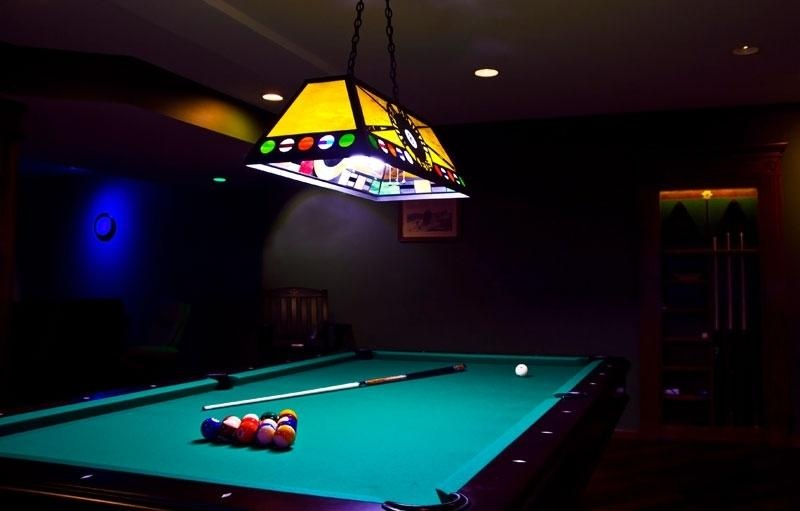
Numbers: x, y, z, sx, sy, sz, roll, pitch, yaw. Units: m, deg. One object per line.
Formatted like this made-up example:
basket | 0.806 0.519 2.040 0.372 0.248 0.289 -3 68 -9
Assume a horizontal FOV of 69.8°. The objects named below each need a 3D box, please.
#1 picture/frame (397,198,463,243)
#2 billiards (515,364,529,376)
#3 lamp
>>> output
picture/frame | 0.307 -0.402 6.095 0.667 0.511 0.063 -2 -9 14
billiards | 0.777 0.734 3.682 0.072 0.042 0.069 -2 1 -40
lamp | -0.176 -0.629 3.163 0.806 0.613 1.044 2 5 26
